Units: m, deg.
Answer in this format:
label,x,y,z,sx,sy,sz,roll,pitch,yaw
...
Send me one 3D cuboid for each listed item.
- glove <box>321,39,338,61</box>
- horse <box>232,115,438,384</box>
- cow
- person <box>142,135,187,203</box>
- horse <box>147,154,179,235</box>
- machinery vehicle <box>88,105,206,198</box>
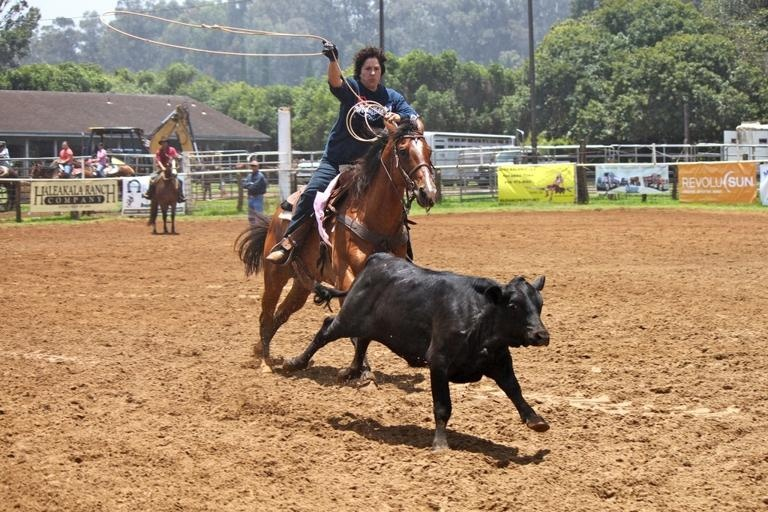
label,x,y,z,sx,sy,sz,roll,pitch,yaw
glove,-0.959,-3.627,18.661,0.253,0.394,0.599,0,5,-5
horse,-0.480,-0.238,19.110,2.402,3.755,5.716,0,4,12
cow,0.779,1.396,17.287,2.707,2.602,5.905,-4,6,-35
person,-6.695,-2.648,32.487,0.742,1.929,1.214,0,1,-19
horse,-6.882,-1.910,33.159,0.985,2.253,2.853,0,5,-12
machinery vehicle,-10.733,-5.754,48.385,6.035,4.323,4.406,5,17,11
